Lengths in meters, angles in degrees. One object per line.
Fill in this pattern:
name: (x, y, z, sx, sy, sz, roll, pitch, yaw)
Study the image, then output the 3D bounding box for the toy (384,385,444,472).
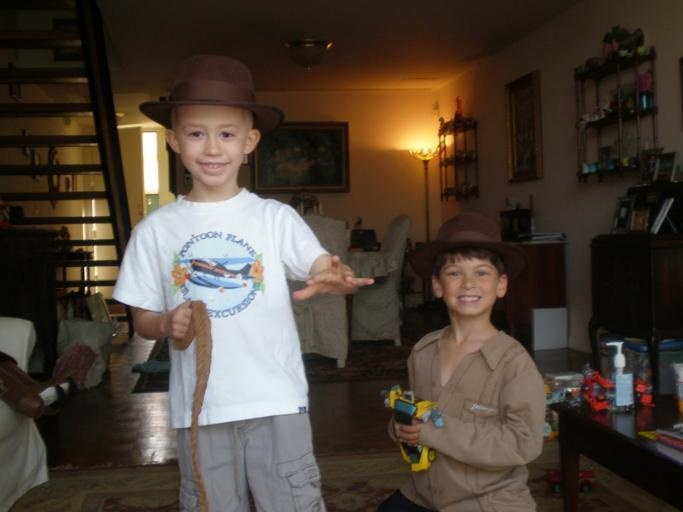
toy: (0.213, 0.528, 1.661, 0.209, 0.282, 0.148, -1, 2, 20)

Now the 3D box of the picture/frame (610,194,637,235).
picture/frame: (1.935, -0.296, 3.764, 0.099, 0.263, 0.201, -2, 2, -6)

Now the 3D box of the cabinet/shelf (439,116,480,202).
cabinet/shelf: (1.421, -1.215, 6.864, 0.289, 1.028, 0.904, -2, 2, -6)

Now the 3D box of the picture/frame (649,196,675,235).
picture/frame: (1.948, -0.247, 3.349, 0.106, 0.223, 0.329, 0, 2, 40)

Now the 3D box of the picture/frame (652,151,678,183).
picture/frame: (2.087, -0.565, 3.531, 0.122, 0.203, 0.243, -1, 1, 1)

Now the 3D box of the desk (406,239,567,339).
desk: (1.731, 0.308, 5.310, 1.490, 0.856, 1.596, 0, -5, -28)

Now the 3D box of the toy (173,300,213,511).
toy: (-0.345, 0.354, 1.292, 0.048, 0.468, 0.113, -4, 4, 33)
